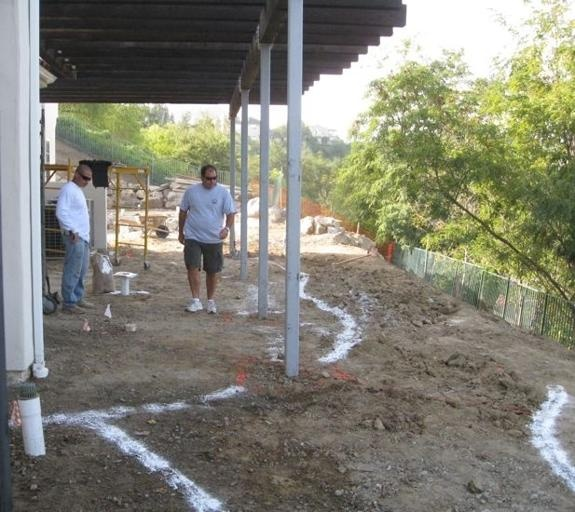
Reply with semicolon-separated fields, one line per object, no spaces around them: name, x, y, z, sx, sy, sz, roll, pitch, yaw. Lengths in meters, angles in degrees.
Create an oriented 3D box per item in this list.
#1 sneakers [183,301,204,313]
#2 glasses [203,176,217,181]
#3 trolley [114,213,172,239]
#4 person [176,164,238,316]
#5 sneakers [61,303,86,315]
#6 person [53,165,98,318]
sneakers;-1.161;0.639;6.849;0.097;0.131;0.246;1;-1;24
glasses;-0.900;-0.904;6.382;0.131;0.061;0.098;3;9;-14
trolley;-4.605;-1.001;17.586;1.714;1.029;1.471;2;3;-4
person;-0.978;-0.177;6.636;0.642;1.822;0.725;-1;8;-30
sneakers;-2.429;0.594;6.252;0.291;0.161;0.115;0;8;-5
person;-2.398;-0.203;6.200;0.255;1.650;0.533;4;7;5
